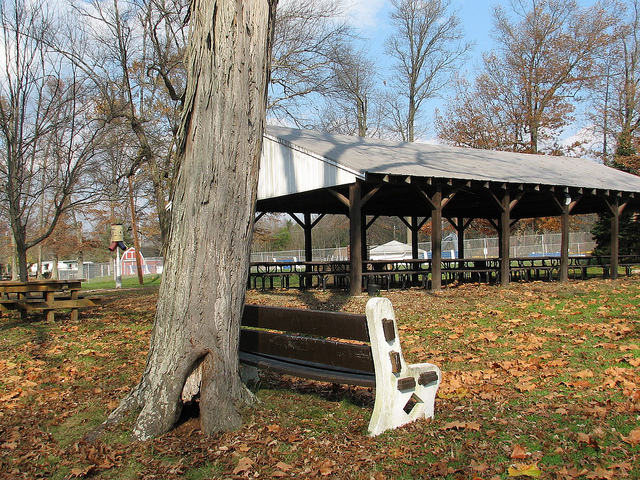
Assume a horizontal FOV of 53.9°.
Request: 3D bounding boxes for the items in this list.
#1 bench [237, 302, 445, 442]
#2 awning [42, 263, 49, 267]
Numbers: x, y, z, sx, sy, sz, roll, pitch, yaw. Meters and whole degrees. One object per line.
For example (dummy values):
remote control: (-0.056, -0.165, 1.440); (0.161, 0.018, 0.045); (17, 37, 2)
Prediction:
bench: (0.162, 1.342, 7.147); (2.127, 1.444, 0.792); (2, 9, 30)
awning: (-30.610, 2.811, 69.590); (0.644, 0.178, 0.724); (1, 4, 22)
